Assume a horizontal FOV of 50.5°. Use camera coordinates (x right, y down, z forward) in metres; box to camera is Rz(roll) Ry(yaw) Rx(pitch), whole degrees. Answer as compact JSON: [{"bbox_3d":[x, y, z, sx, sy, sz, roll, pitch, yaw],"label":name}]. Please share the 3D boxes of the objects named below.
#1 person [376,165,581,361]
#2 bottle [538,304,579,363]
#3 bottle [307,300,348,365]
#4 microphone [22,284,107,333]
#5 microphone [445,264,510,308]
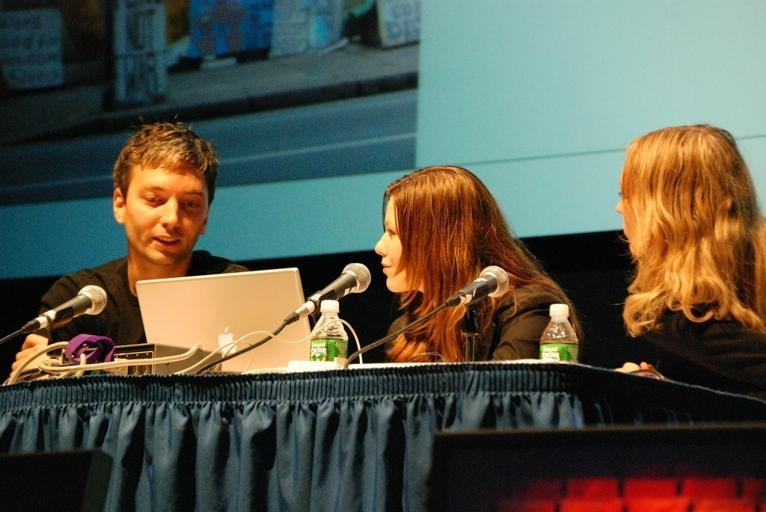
[{"bbox_3d":[0.391,0.093,3.265,0.749,0.927,0.707,1,-9,6],"label":"person"},{"bbox_3d":[0.494,0.218,2.286,0.101,0.169,0.459,-3,-5,11],"label":"bottle"},{"bbox_3d":[-0.162,0.222,2.367,0.112,0.181,0.231,-2,-4,-5],"label":"bottle"},{"bbox_3d":[-1.005,0.163,2.538,0.244,0.141,0.144,1,-5,-35],"label":"microphone"},{"bbox_3d":[0.276,0.085,2.335,0.137,0.114,0.211,-4,-5,25],"label":"microphone"}]
